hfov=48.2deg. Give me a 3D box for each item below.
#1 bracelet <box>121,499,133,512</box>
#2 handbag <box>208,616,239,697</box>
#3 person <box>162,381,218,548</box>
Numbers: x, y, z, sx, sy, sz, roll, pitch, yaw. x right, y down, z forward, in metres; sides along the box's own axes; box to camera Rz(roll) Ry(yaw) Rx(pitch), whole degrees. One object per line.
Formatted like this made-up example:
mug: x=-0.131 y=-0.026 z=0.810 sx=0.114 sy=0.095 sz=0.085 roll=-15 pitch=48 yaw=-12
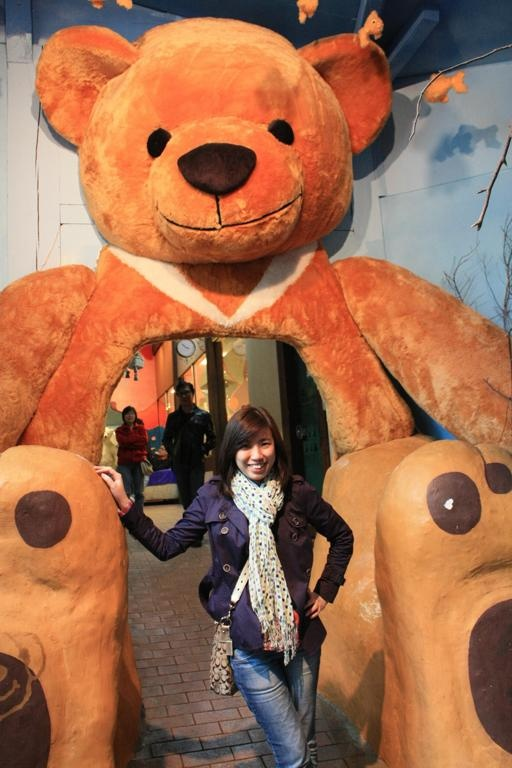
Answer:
bracelet: x=-0.326 y=0.294 z=1.428 sx=0.020 sy=0.036 sz=0.022 roll=-3 pitch=16 yaw=-10
handbag: x=-0.089 y=0.749 z=1.516 sx=0.065 sy=0.361 sz=0.135 roll=0 pitch=34 yaw=-6
person: x=-0.613 y=0.664 z=4.977 sx=0.406 sy=1.419 sz=0.323 roll=1 pitch=22 yaw=1
